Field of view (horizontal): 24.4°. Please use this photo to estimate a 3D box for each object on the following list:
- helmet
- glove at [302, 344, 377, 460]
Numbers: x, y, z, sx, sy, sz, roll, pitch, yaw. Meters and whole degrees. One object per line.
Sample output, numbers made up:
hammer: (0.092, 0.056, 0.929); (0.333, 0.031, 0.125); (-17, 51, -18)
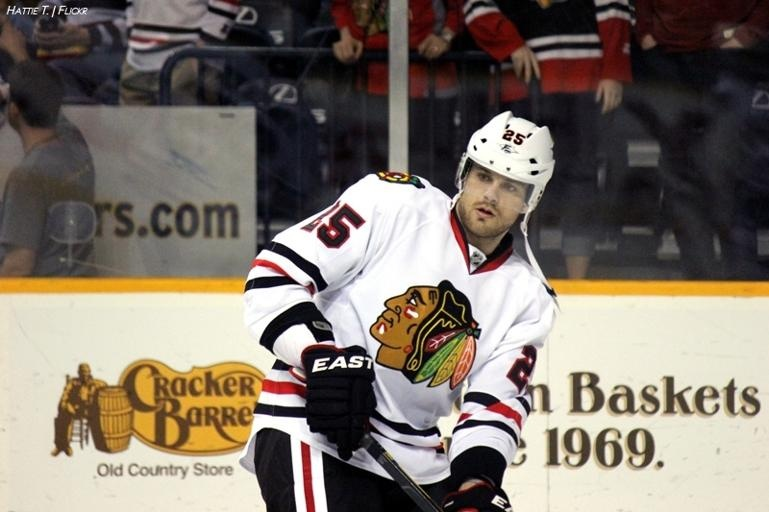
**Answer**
helmet: (0.734, -0.590, 9.469); (0.462, 0.515, 0.540); (28, 24, 8)
glove: (-0.224, 0.704, 8.710); (0.340, 0.544, 0.196); (1, -1, 1)
